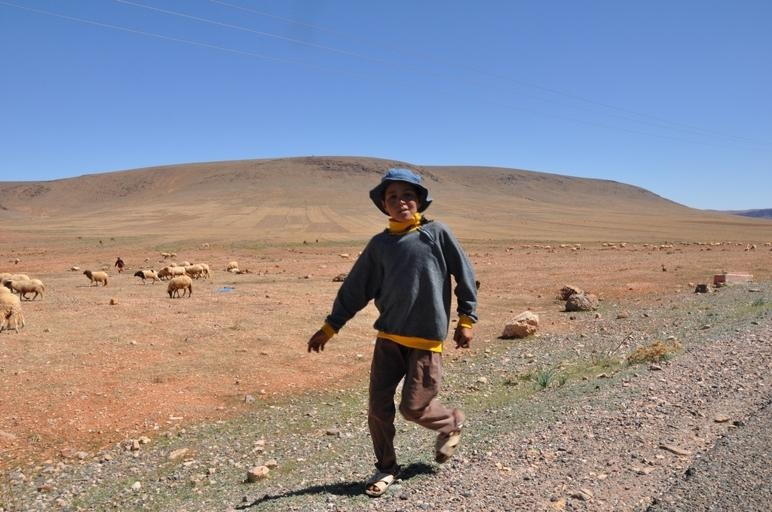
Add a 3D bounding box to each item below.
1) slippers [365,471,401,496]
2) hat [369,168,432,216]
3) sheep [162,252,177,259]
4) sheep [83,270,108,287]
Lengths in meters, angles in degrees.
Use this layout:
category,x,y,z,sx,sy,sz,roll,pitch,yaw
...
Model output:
category,x,y,z,sx,sy,sz,roll,pitch,yaw
slippers,-0.061,2.570,6.055,0.249,0.193,0.403,9,13,25
hat,0.209,-0.801,6.337,0.844,0.216,0.753,-1,-2,5
sheep,-15.628,-0.086,38.226,0.708,0.340,1.427,-8,6,-11
sheep,-12.570,0.955,22.942,1.135,0.353,0.270,4,9,-9
